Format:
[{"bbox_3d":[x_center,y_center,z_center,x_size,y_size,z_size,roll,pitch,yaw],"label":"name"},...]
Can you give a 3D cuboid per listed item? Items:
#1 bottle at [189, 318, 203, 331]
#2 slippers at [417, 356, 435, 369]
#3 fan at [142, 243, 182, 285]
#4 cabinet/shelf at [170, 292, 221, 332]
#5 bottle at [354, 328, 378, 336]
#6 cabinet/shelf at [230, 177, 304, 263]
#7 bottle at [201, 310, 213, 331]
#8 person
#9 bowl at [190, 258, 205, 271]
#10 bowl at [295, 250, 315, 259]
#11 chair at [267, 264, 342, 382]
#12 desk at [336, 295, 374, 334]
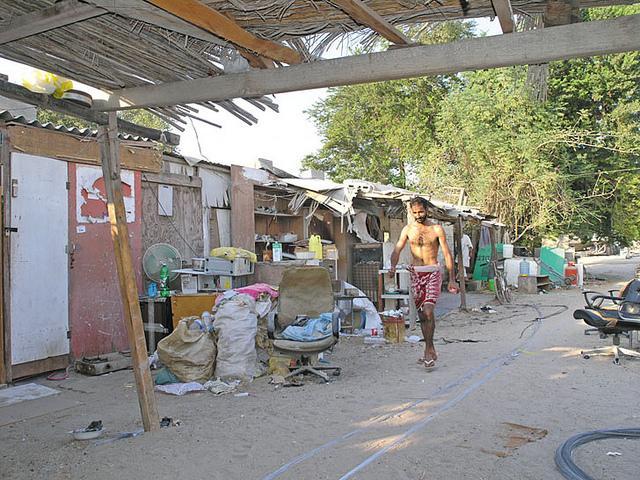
[{"bbox_3d":[-1.684,1.158,8.328,0.217,0.203,0.125,3,-20,-7],"label":"bottle"},{"bbox_3d":[1.443,1.663,8.241,0.141,0.101,0.398,-6,-6,1],"label":"slippers"},{"bbox_3d":[-2.581,0.372,9.815,0.595,0.583,0.132,-1,2,-31],"label":"fan"},{"bbox_3d":[-1.893,1.151,9.182,0.722,0.405,0.473,1,41,-15],"label":"cabinet/shelf"},{"bbox_3d":[0.852,1.633,10.984,0.500,0.105,0.472,-1,5,0],"label":"bottle"},{"bbox_3d":[-1.137,-0.404,12.475,0.269,1.097,1.895,-4,-5,22],"label":"cabinet/shelf"},{"bbox_3d":[-1.561,1.112,8.400,0.146,0.208,0.369,-3,5,-10],"label":"bottle"},{"bbox_3d":[1.521,0.555,8.491,0.722,2.296,0.939,-4,6,-26],"label":"person"},{"bbox_3d":[-2.011,0.408,10.122,0.333,0.224,0.186,-3,-6,39],"label":"bowl"},{"bbox_3d":[-0.289,0.317,12.103,0.399,0.146,0.561,-2,5,-2],"label":"bowl"},{"bbox_3d":[-0.219,1.102,8.186,0.954,1.404,1.060,-2,5,-6],"label":"chair"},{"bbox_3d":[0.602,1.357,11.101,0.700,0.678,0.857,0,3,8],"label":"desk"}]
